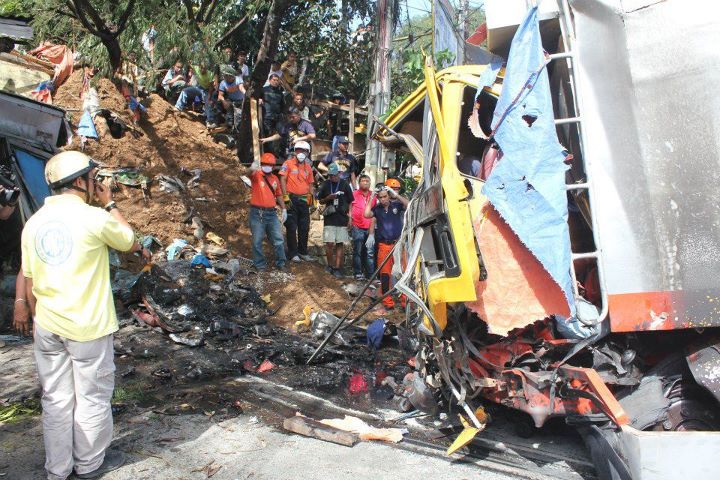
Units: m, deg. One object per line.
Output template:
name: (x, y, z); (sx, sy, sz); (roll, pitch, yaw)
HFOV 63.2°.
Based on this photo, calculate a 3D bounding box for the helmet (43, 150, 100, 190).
helmet: (-2.577, -0.697, 5.185); (0.483, 0.242, 0.342); (-26, 40, -20)

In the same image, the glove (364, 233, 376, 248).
glove: (0.186, 0.004, 10.663); (0.233, 0.338, 0.127); (6, -13, 14)

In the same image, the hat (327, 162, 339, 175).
hat: (-0.472, -1.279, 10.545); (0.218, 0.215, 0.218); (4, 11, -5)

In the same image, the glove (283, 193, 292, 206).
glove: (-1.308, -0.722, 10.461); (0.171, 0.205, 0.494); (-1, -10, -6)

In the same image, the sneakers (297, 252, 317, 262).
sneakers: (-0.996, 0.333, 11.021); (0.313, 0.127, 0.112); (4, 10, 9)

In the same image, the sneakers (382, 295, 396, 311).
sneakers: (0.489, 1.039, 9.911); (0.164, 0.255, 0.388); (4, 10, -6)

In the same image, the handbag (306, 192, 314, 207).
handbag: (-0.902, -0.740, 10.752); (0.202, 0.211, 0.153); (3, 4, -1)

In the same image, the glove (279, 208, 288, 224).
glove: (-1.354, -0.424, 10.335); (0.166, 0.224, 0.085); (3, 13, 9)

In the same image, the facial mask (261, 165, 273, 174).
facial mask: (-1.582, -1.203, 10.021); (0.200, 0.141, 0.162); (0, 11, -23)

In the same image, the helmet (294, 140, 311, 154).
helmet: (-1.027, -1.686, 10.431); (0.185, 0.247, 0.186); (26, 25, 14)

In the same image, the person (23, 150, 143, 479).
person: (-2.440, 0.614, 5.052); (0.771, 2.679, 0.915); (-2, 13, -31)

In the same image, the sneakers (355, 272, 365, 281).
sneakers: (-0.003, 0.678, 10.988); (0.102, 0.104, 0.249); (2, -13, -9)

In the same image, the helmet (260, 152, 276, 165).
helmet: (-1.576, -1.380, 10.075); (0.263, 0.176, 0.351); (18, 4, -2)
